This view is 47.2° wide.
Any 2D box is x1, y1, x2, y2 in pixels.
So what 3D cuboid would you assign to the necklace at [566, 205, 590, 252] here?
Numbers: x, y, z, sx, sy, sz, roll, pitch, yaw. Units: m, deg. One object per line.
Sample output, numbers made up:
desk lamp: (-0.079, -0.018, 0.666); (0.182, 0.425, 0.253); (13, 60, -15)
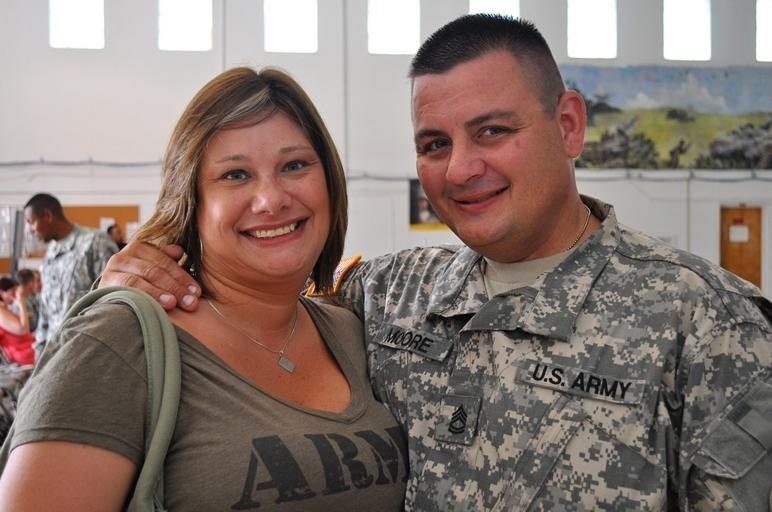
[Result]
necklace: (1.009, -0.142, 4.551); (0.043, 0.189, 0.153); (17, 4, -7)
